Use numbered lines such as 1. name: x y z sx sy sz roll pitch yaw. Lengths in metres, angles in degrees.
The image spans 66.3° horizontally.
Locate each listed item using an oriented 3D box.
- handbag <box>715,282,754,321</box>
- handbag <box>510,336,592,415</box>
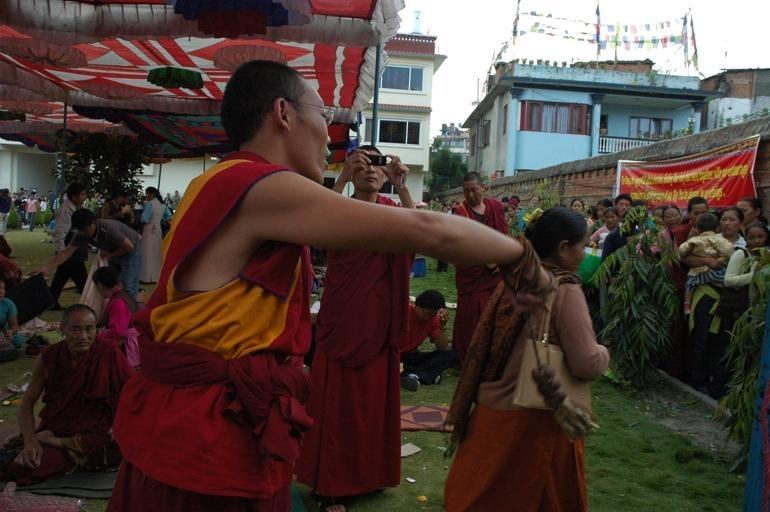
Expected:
1. handbag: 3.577 0.468 6.016 0.243 0.350 0.122 -1 7 4
2. handbag: 0.987 0.711 3.432 0.372 0.358 0.120 15 -13 -7
